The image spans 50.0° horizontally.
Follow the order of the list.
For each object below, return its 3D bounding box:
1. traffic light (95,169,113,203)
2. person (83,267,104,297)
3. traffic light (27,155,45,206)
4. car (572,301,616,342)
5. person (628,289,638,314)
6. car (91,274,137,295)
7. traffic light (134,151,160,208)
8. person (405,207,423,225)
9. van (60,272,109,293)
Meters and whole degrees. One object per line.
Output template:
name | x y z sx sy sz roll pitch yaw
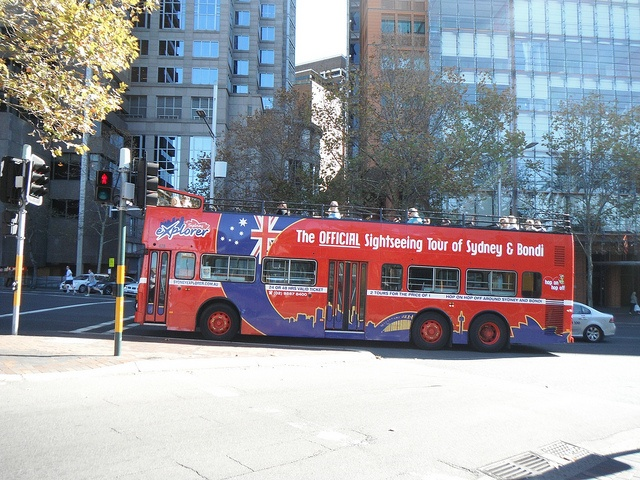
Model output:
traffic light | -5.783 -1.429 18.655 0.475 0.919 0.338 3 -4 -31
person | -15.592 2.947 47.612 0.606 1.880 0.675 13 25 -20
traffic light | -8.695 -1.905 21.326 0.577 1.638 1.138 2 -4 -21
car | 10.734 3.319 27.479 1.803 1.527 0.631 2 -4 -9
person | 20.490 4.198 45.236 0.402 1.194 1.177 0 -4 21
car | -13.868 3.045 46.145 2.596 0.895 1.186 4 -5 -30
traffic light | -4.725 -1.576 18.891 0.615 1.370 0.425 2 -4 -15
person | 3.230 -0.802 23.894 0.451 0.602 0.929 1 0 34
van | -15.530 2.772 46.195 2.616 1.278 1.530 4 -5 -34
